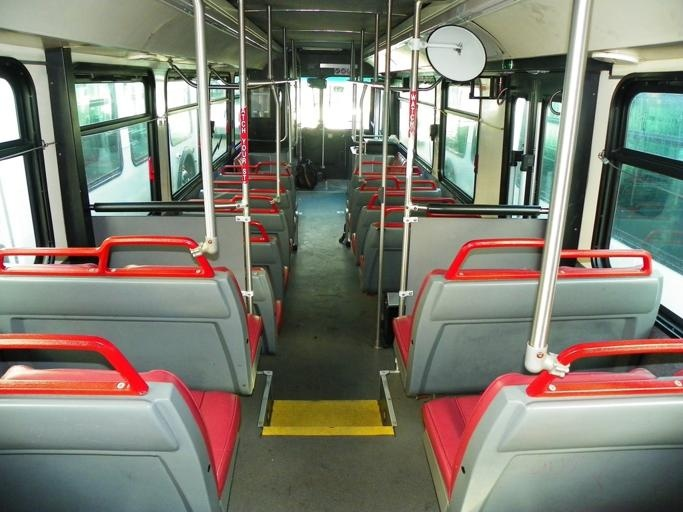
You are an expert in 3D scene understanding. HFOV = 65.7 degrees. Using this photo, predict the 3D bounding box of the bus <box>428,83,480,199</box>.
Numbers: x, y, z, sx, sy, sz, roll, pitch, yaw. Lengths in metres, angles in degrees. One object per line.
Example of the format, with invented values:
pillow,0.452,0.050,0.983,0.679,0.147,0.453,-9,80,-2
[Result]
bus,1.844,-2.184,9.357,0.224,2.060,3.398,-3,20,-5
